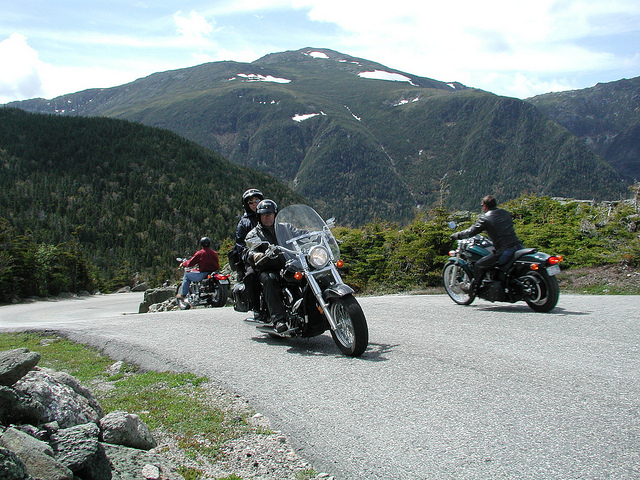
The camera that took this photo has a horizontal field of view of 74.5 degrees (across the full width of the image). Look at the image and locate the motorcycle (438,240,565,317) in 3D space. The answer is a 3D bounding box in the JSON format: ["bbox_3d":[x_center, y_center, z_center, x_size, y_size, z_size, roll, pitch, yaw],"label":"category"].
[{"bbox_3d":[4.482,0.767,9.962,1.552,1.307,2.614,-5,1,-33],"label":"motorcycle"}]

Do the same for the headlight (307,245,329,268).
[{"bbox_3d":[-0.007,0.261,6.551,0.263,0.312,0.136,-6,1,-31],"label":"headlight"}]

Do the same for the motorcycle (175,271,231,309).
[{"bbox_3d":[-3.995,1.810,15.328,1.896,1.033,1.199,-4,-5,34],"label":"motorcycle"}]
